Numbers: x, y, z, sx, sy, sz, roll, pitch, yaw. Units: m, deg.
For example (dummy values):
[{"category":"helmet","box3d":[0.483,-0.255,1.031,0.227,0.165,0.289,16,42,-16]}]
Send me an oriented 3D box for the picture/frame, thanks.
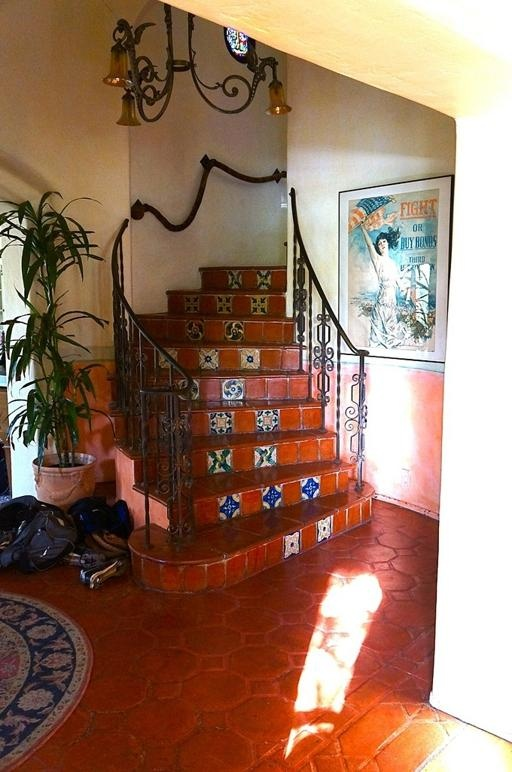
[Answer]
[{"category":"picture/frame","box3d":[0.995,-0.837,4.131,0.078,1.289,0.959,-4,7,-38]}]
